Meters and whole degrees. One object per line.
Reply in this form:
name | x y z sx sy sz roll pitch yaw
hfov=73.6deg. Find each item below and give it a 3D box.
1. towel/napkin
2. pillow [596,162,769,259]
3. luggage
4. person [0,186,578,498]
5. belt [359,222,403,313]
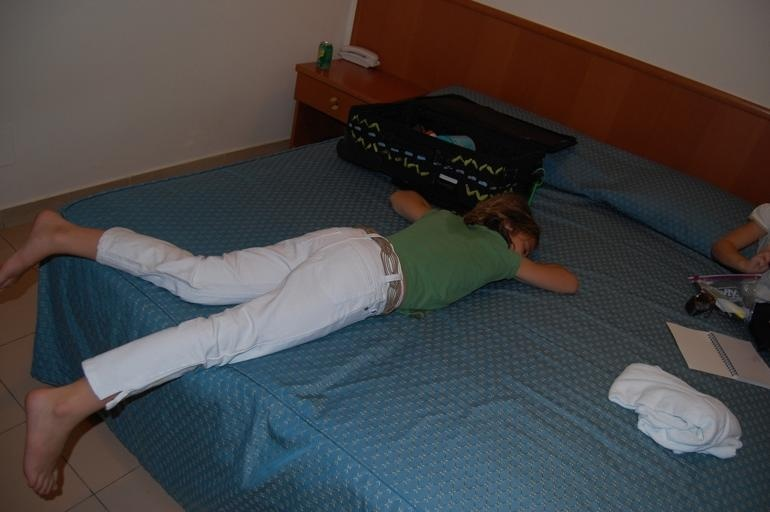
towel/napkin | 1.069 0.571 1.982 0.413 0.144 0.312 26 31 29
pillow | 1.648 -0.288 2.935 0.726 0.174 0.433 33 69 15
luggage | 0.369 -0.609 2.929 1.071 0.318 0.836 30 40 29
person | -0.167 0.249 2.496 2.480 0.733 1.068 -7 41 -21
belt | 0.028 0.059 2.098 0.099 0.219 0.279 -10 83 -5
